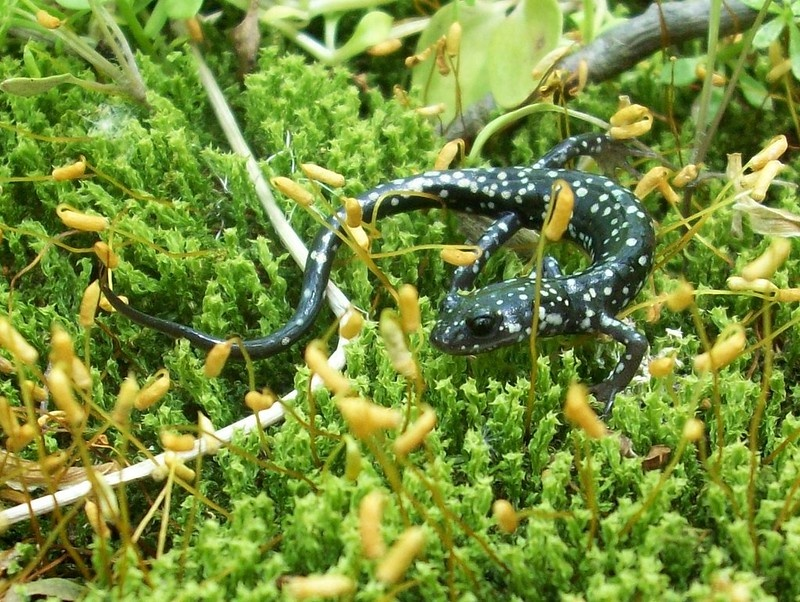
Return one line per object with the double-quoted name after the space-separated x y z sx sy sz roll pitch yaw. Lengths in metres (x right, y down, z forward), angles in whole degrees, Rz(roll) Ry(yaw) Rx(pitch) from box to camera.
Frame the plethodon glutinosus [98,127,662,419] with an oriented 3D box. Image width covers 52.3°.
0.124 -0.068 1.880 0.885 0.201 0.649 -9 39 -3 "plethodon glutinosus"
